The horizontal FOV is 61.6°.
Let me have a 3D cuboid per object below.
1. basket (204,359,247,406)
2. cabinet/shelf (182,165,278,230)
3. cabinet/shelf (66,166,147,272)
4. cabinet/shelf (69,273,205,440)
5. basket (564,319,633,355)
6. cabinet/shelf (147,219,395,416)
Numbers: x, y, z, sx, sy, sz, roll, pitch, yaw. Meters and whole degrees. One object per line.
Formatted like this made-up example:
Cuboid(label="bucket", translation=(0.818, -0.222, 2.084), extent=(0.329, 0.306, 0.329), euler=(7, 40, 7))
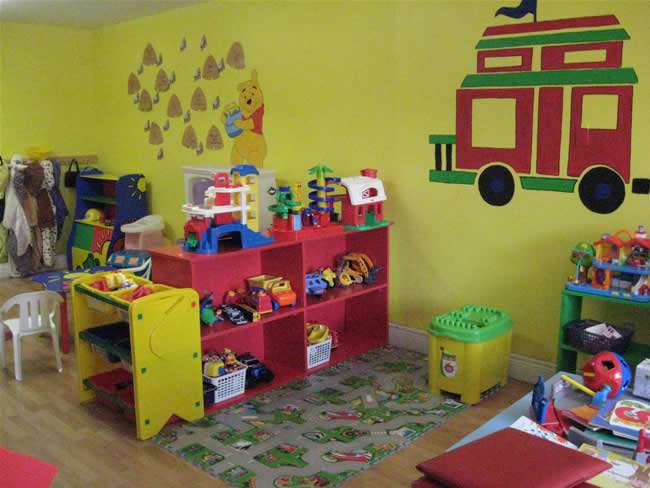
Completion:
Cuboid(label="basket", translation=(-0.621, 0.883, 3.526), extent=(0.201, 0.181, 0.290), euler=(8, 9, 44))
Cuboid(label="cabinet/shelf", translation=(-0.639, -0.336, 3.841), extent=(0.554, 0.530, 0.248), euler=(11, 16, 36))
Cuboid(label="cabinet/shelf", translation=(-2.421, -0.236, 6.072), extent=(1.027, 1.104, 0.568), euler=(10, 15, 42))
Cuboid(label="cabinet/shelf", translation=(-1.185, 0.651, 3.417), extent=(0.475, 0.839, 0.899), euler=(-7, 9, -44))
Cuboid(label="basket", translation=(1.589, 0.530, 3.190), extent=(0.290, 0.111, 0.230), euler=(6, 10, 44))
Cuboid(label="cabinet/shelf", translation=(-0.289, 0.375, 4.198), extent=(1.573, 0.901, 0.449), euler=(-17, -27, 32))
